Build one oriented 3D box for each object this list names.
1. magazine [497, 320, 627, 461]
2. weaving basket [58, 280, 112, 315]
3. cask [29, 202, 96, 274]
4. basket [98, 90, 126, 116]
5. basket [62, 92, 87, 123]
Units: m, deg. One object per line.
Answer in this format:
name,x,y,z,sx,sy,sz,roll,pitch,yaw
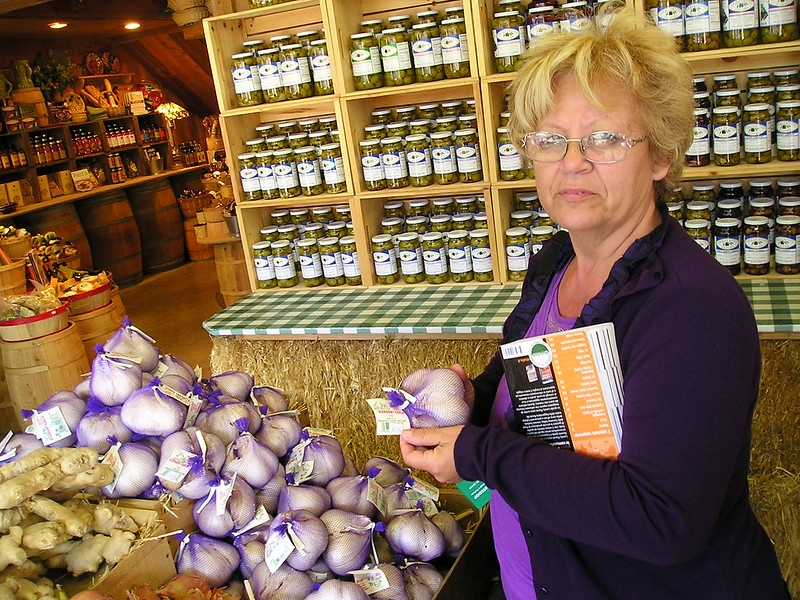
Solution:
magazine,0.257,0.157,0.876,0.239,0.211,0.057,-1,9,35
weaving basket,-2.257,-0.017,3.791,0.241,0.078,0.226,-6,12,17
cask,-4.196,-0.736,6.486,0.560,0.860,0.320,-17,16,-33
basket,-4.418,-3.044,8.109,0.384,0.512,0.198,-1,-31,-20
basket,-4.606,-2.715,7.456,0.112,0.395,0.431,-6,22,-27
